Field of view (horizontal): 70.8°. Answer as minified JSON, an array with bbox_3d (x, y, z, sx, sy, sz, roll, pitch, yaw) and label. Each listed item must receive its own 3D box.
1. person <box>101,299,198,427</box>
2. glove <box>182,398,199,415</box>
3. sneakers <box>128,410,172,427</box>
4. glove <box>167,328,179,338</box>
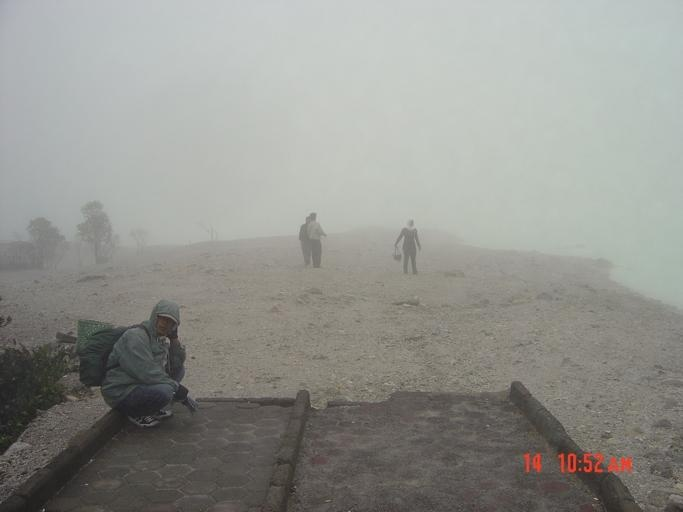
[{"bbox_3d":[-2.007,1.121,5.214,0.914,1.258,0.904,2,-4,3],"label":"person"},{"bbox_3d":[-1.667,1.659,5.307,0.132,0.166,0.137,-37,30,-19],"label":"glove"},{"bbox_3d":[-2.027,1.701,5.095,0.381,0.172,0.135,-6,-1,1],"label":"sneakers"},{"bbox_3d":[-1.850,0.840,5.248,0.117,0.127,0.132,0,-9,-1],"label":"glove"}]
